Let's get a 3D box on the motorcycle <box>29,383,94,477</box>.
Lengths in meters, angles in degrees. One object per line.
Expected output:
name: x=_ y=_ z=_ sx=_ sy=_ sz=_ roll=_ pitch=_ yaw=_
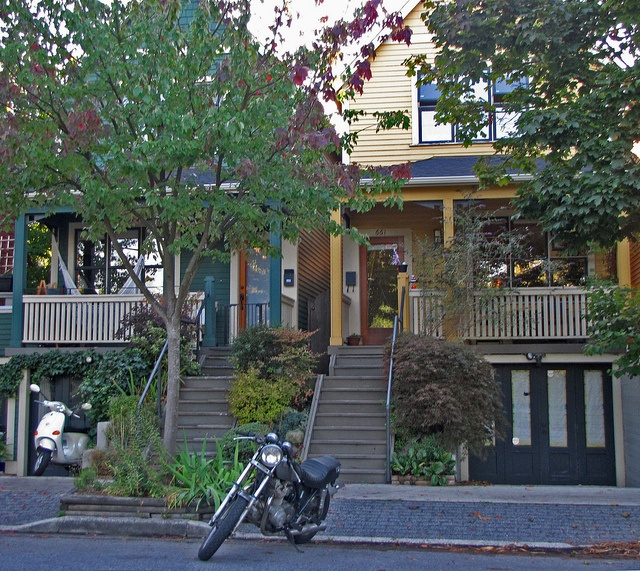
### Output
motorcycle: x=-4.555 y=2.642 z=11.348 sx=0.783 sy=1.458 sz=1.741 roll=3 pitch=-12 yaw=6

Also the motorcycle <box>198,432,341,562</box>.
motorcycle: x=-0.429 y=2.133 z=6.720 sx=1.816 sy=1.245 sz=0.746 roll=7 pitch=10 yaw=-44
